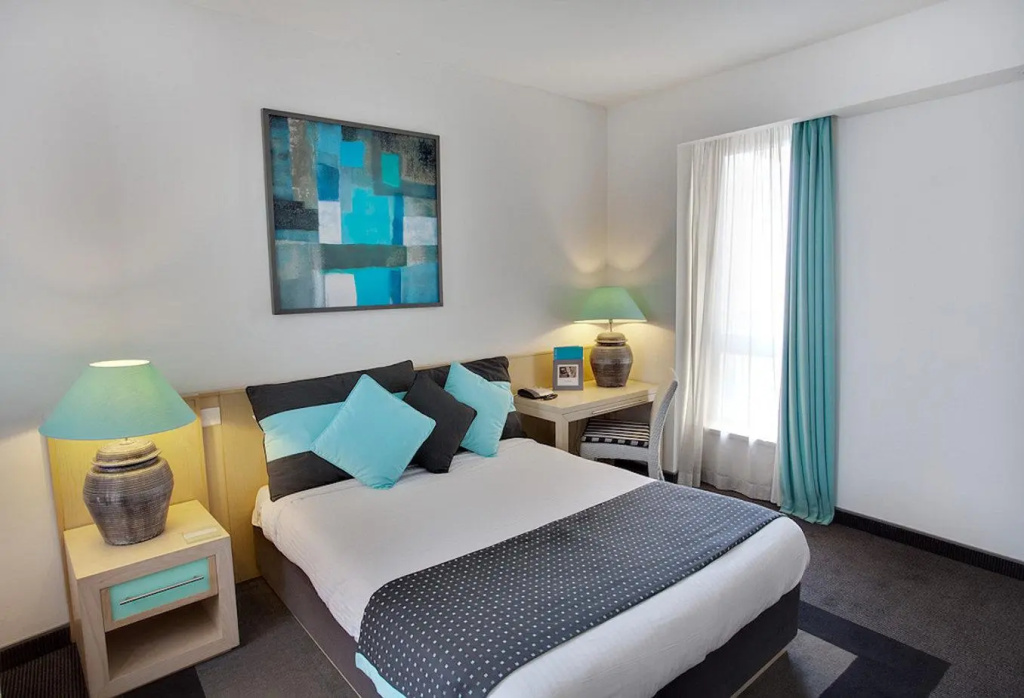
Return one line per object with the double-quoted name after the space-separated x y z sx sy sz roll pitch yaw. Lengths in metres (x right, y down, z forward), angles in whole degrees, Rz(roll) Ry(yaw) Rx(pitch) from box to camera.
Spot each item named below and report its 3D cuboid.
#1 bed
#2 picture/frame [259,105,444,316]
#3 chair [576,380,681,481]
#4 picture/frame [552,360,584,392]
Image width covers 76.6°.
0.045 0.941 3.456 2.368 1.397 1.891 9 14 42 "bed"
-0.960 -0.849 4.185 1.154 1.196 0.042 -5 9 -34 "picture/frame"
0.761 0.614 4.973 0.736 0.509 0.413 -12 4 3 "chair"
0.442 0.210 5.028 0.232 0.243 0.023 0 2 8 "picture/frame"
